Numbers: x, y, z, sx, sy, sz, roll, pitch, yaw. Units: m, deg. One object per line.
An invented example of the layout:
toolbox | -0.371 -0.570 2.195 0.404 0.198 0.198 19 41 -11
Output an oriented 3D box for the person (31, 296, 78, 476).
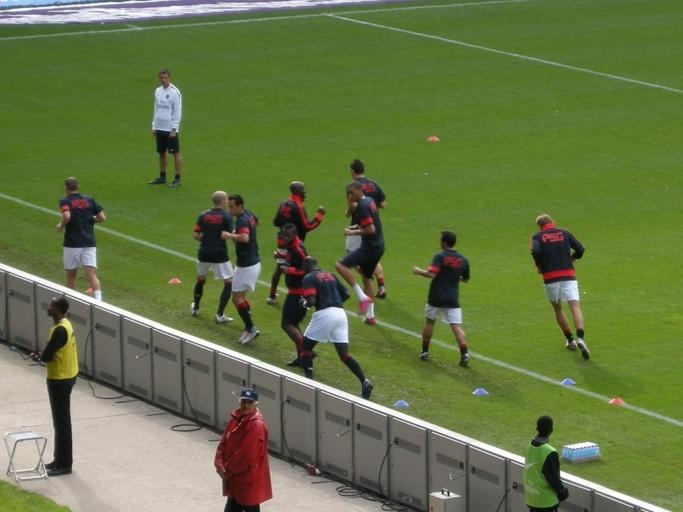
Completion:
person | -4.684 2.183 29.986 0.592 2.957 0.537 3 10 -9

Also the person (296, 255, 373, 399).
person | -0.152 1.234 31.882 1.073 2.362 1.619 -2 10 -33

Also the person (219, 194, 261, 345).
person | -1.840 0.245 33.465 0.747 2.669 1.116 3 9 -9

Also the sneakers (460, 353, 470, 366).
sneakers | 2.252 1.890 32.834 0.173 0.278 0.281 4 8 2

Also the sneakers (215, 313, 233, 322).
sneakers | -2.211 1.175 34.033 0.359 0.121 0.128 -2 17 -11

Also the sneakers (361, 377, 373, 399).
sneakers | 0.453 2.322 31.488 0.199 0.384 0.136 -7 49 -5

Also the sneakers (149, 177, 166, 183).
sneakers | -4.138 -1.696 40.515 0.413 0.134 0.122 2 12 2

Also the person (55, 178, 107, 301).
person | -4.953 -0.381 34.364 0.853 2.217 0.716 3 9 -7

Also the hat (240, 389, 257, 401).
hat | -1.450 2.212 28.598 0.231 0.201 0.332 4 8 3

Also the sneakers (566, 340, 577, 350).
sneakers | 4.242 1.660 33.343 0.162 0.153 0.194 0 -5 -5

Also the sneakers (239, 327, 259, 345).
sneakers | -1.686 1.496 33.216 0.444 0.166 0.206 -30 -27 14
